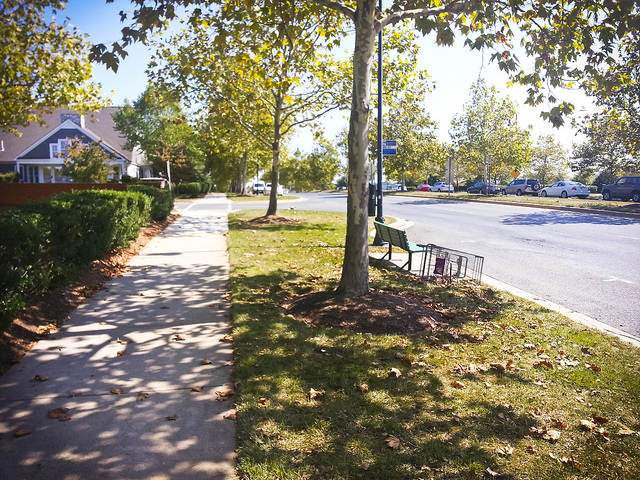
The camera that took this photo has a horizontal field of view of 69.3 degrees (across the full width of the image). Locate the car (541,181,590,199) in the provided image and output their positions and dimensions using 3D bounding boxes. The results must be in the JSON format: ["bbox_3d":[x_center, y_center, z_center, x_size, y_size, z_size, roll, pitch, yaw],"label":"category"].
[{"bbox_3d":[22.383,-4.554,42.157,2.759,1.477,4.383,5,12,14],"label":"car"}]

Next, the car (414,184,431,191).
[{"bbox_3d":[16.340,-8.828,75.585,1.529,1.248,3.621,-2,6,-29],"label":"car"}]

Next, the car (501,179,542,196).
[{"bbox_3d":[21.074,-5.562,48.687,1.741,1.387,3.757,-1,7,-17],"label":"car"}]
